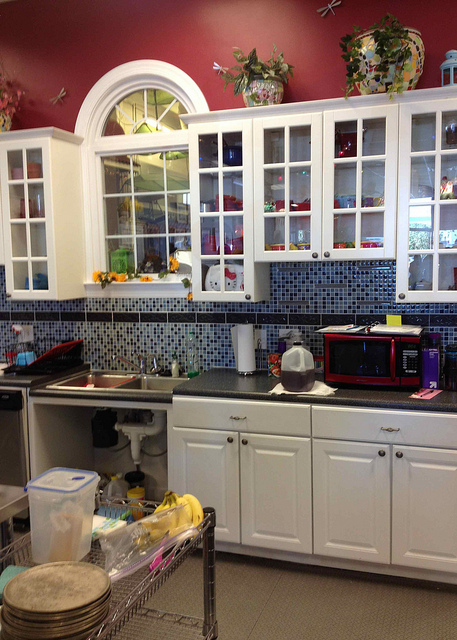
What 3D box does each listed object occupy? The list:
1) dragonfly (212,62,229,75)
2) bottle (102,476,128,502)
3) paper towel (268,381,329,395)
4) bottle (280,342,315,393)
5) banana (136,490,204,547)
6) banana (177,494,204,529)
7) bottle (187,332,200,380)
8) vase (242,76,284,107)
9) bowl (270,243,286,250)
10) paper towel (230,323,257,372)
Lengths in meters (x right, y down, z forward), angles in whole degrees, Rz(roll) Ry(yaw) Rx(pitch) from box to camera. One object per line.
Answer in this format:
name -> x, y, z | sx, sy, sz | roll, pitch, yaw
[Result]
dragonfly -> -0.046, -1.462, 3.265 | 0.076, 0.080, 0.022 | 10, 19, 19
bottle -> -0.689, 1.003, 3.408 | 0.148, 0.098, 0.347 | -2, 5, -12
paper towel -> 0.359, 0.331, 2.789 | 0.278, 0.018, 0.263 | 0, 5, 13
bottle -> 0.340, 0.230, 2.758 | 0.144, 0.234, 0.138 | -2, 5, 0
banana -> -0.148, 0.473, 1.295 | 0.135, 0.065, 0.189 | -19, 10, 8
banana -> -0.089, 0.487, 1.437 | 0.039, 0.019, 0.071 | -14, 11, -13
bottle -> -0.215, 0.197, 3.413 | 0.073, 0.237, 0.138 | -1, 5, -4
vase -> 0.187, -1.201, 2.950 | 0.171, 0.133, 0.183 | -1, 5, -2
bowl -> 0.257, -0.386, 2.937 | 0.086, 0.035, 0.016 | 2, 6, 30
paper towel -> 0.083, 0.156, 3.171 | 0.133, 0.273, 0.110 | -1, 5, 2
